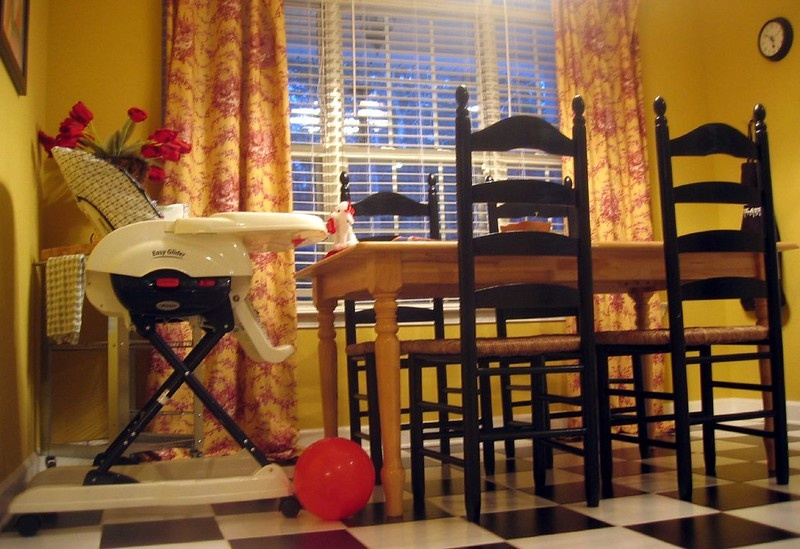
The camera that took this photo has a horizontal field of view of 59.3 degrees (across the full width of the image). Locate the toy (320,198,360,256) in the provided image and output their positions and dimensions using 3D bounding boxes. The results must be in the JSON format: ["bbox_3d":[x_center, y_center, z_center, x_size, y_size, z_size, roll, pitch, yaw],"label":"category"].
[{"bbox_3d":[-0.297,-0.225,3.503,0.259,0.291,0.261,3,-5,-12],"label":"toy"}]

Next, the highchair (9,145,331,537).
[{"bbox_3d":[-0.864,0.344,3.885,1.716,1.924,1.193,0,-1,-11],"label":"highchair"}]

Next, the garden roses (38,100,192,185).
[{"bbox_3d":[-1.481,-0.677,3.724,0.589,0.253,0.584,16,10,-4],"label":"garden roses"}]

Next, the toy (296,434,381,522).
[{"bbox_3d":[-0.247,0.849,2.974,0.337,0.337,0.322,3,-15,2],"label":"toy"}]
